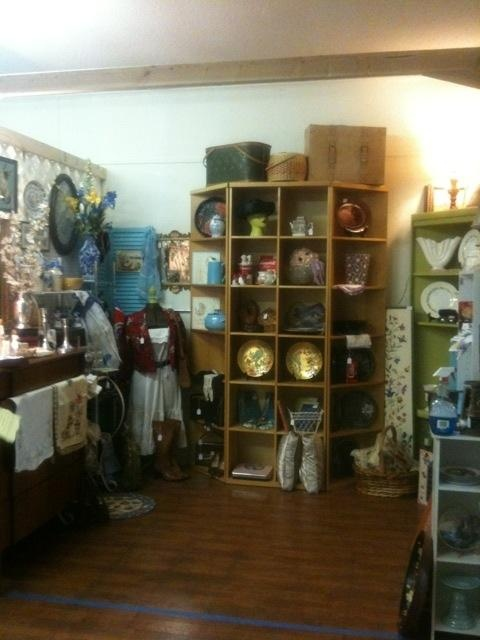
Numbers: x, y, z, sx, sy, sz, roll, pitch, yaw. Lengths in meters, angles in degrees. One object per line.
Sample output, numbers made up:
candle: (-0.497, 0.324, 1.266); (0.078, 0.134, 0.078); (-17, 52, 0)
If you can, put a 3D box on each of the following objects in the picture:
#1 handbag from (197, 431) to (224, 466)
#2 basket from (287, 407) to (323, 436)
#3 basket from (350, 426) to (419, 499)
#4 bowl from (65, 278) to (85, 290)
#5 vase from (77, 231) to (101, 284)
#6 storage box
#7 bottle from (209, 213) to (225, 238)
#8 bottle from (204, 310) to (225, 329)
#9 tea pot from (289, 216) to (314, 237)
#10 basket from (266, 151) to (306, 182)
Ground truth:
handbag: (-0.193, 1.071, 4.573); (0.219, 0.285, 0.276); (0, -5, 7)
basket: (0.503, 0.768, 4.146); (0.201, 0.139, 0.174); (-1, -8, 8)
basket: (1.133, 1.042, 4.089); (0.533, 0.506, 0.437); (-4, -3, 38)
bowl: (-1.250, -0.270, 4.140); (0.097, 0.071, 0.098); (1, 4, 0)
vase: (-1.204, -0.480, 4.367); (0.139, 0.249, 0.184); (0, 0, -15)
storage box: (0.803, -1.287, 4.246); (0.602, 0.402, 0.341); (0, 18, -3)
bottle: (-0.197, -0.736, 4.309); (0.166, 0.150, 0.093); (1, 0, 38)
bottle: (-0.205, -0.005, 4.331); (0.143, 0.134, 0.140); (2, -1, -39)
tea pot: (0.476, -0.707, 4.186); (0.230, 0.179, 0.134); (1, 5, 10)
basket: (0.347, -1.125, 4.137); (0.239, 0.173, 0.243); (8, 10, 41)
